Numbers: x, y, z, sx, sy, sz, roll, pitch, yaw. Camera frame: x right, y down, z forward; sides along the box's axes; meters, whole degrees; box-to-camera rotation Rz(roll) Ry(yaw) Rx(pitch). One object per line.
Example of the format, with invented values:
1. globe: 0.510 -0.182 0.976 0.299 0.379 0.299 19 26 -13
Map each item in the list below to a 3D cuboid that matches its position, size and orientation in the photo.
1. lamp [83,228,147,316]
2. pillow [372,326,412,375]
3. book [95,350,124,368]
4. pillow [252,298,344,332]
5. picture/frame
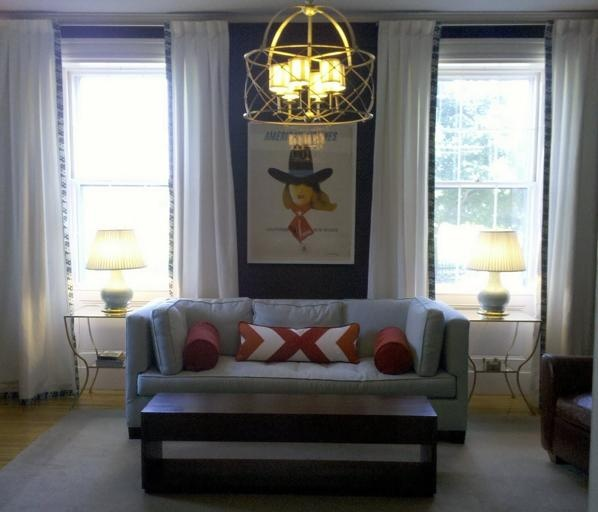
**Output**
1. lamp: -1.508 0.124 5.131 0.454 0.718 0.470 6 7 33
2. pillow: 0.678 0.685 4.472 0.231 0.251 0.356 -2 6 5
3. book: -1.494 0.823 4.983 0.225 0.102 0.284 0 13 -3
4. pillow: -0.017 0.558 4.841 0.660 0.203 0.384 2 45 0
5. picture/frame: 0.026 -0.573 5.182 1.100 1.562 0.069 1 2 -2
